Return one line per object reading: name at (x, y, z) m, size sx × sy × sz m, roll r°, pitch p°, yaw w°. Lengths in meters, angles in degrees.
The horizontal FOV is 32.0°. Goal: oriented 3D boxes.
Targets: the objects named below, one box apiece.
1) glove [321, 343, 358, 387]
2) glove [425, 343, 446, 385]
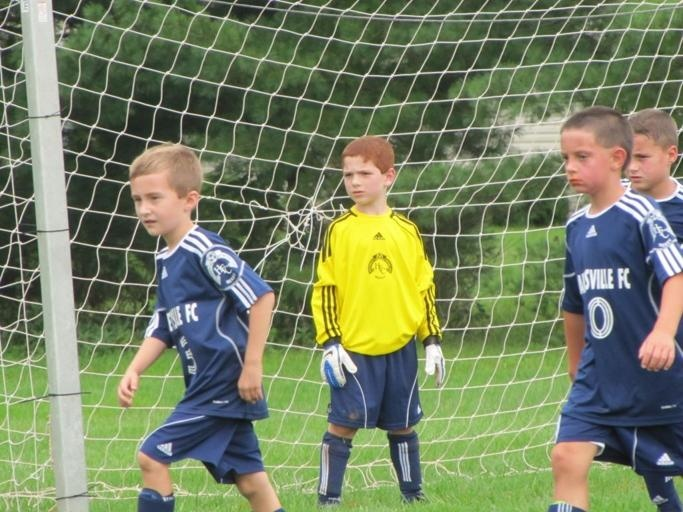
glove at (-0.023, 0.832, 9.174) m, size 0.273 × 0.341 × 0.128 m, roll -5°, pitch -6°, yaw 4°
glove at (0.709, 0.868, 9.460) m, size 0.199 × 0.337 × 0.134 m, roll -8°, pitch 8°, yaw -28°
